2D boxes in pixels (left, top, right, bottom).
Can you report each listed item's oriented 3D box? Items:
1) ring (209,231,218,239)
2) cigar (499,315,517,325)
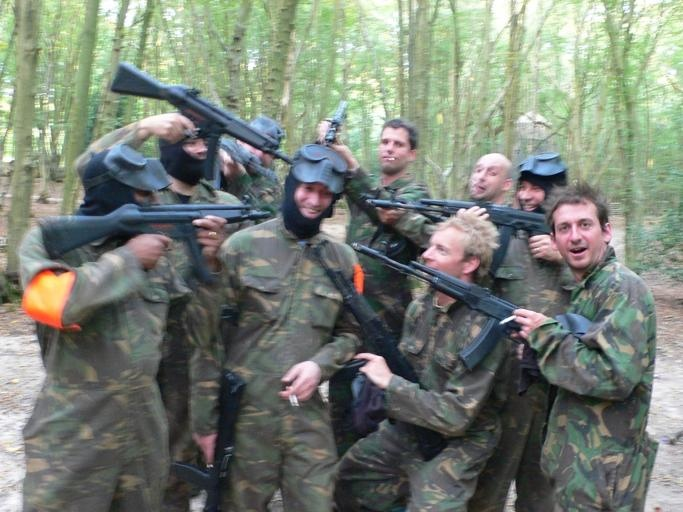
[{"bbox_3d":[-0.928,-0.155,4.578,0.040,0.018,0.054,22,-22,-28],"label":"ring"},{"bbox_3d":[1.216,0.463,4.673,0.174,0.034,0.046,-16,17,-1],"label":"cigar"}]
